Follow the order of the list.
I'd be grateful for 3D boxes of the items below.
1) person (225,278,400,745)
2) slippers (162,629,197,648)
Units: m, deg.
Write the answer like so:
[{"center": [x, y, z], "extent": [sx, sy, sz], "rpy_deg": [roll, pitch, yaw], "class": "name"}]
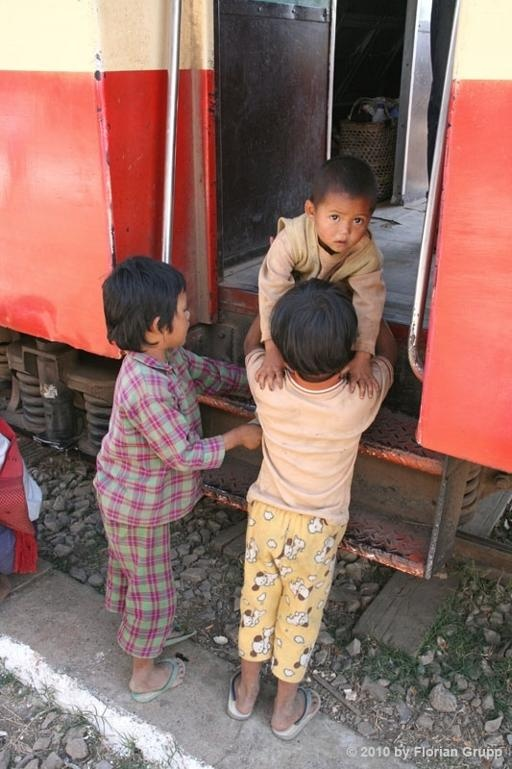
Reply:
[{"center": [0.088, 0.326, 1.542], "extent": [0.346, 1.162, 0.352], "rpy_deg": [10, 25, 12], "class": "person"}, {"center": [-0.244, 0.796, 1.961], "extent": [0.032, 0.027, 0.136], "rpy_deg": [2, -2, 29], "class": "slippers"}]
